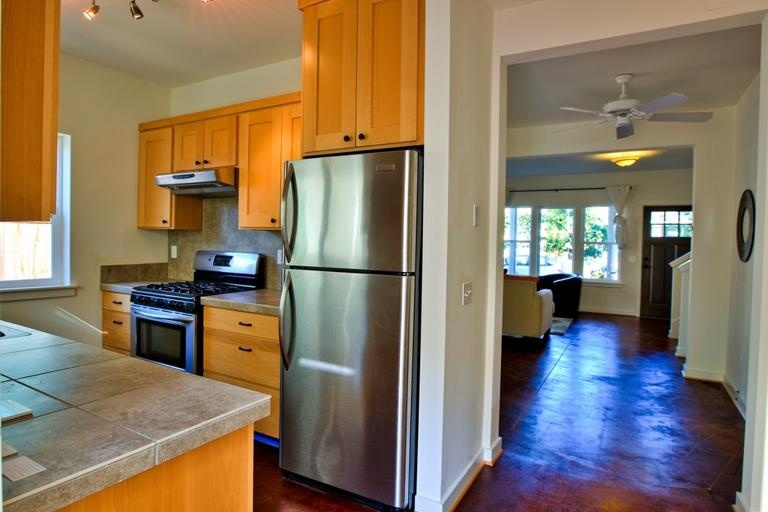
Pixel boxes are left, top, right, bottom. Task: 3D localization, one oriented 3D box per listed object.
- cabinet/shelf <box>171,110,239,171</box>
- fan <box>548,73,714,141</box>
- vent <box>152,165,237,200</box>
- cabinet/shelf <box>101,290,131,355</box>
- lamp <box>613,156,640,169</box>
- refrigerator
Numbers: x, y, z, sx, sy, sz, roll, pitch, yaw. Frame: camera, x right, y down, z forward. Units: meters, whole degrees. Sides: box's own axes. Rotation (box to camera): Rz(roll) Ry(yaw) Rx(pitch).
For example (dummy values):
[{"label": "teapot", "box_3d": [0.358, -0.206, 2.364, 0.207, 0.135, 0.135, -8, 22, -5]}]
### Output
[{"label": "cabinet/shelf", "box_3d": [-1.592, -1.007, 4.758, 0.795, 0.492, 0.133, 8, 14, 32]}, {"label": "fan", "box_3d": [2.371, -1.287, 4.756, 0.760, 0.295, 0.821, -1, 2, 14]}, {"label": "vent", "box_3d": [-1.615, -0.666, 4.749, 0.808, 0.264, 0.314, 8, 14, 32]}, {"label": "cabinet/shelf", "box_3d": [-2.409, 0.581, 4.842, 0.498, 0.533, 0.142, 12, 16, 41]}, {"label": "lamp", "box_3d": [3.401, -1.289, 7.615, 0.288, 0.098, 0.287, -2, 0, 27]}, {"label": "refrigerator", "box_3d": [-0.247, 0.434, 3.509, 0.964, 2.228, 0.624, 2, 12, 7]}]
